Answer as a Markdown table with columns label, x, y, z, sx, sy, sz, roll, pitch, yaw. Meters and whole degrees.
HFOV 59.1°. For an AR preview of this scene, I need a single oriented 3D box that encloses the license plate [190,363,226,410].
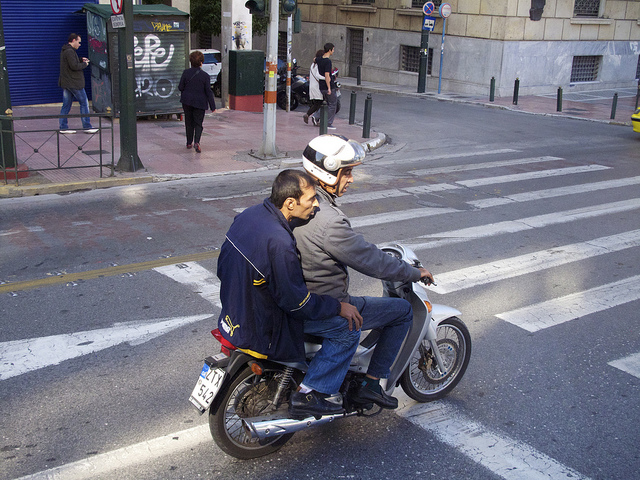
| label | x | y | z | sx | sy | sz | roll | pitch | yaw |
| --- | --- | --- | --- | --- | --- | --- | --- | --- | --- |
| license plate | -0.752 | 0.987 | 3.828 | 0.183 | 0.230 | 0.189 | 16 | 22 | 42 |

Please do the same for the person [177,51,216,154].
| label | x | y | z | sx | sy | sz | roll | pitch | yaw |
| --- | --- | --- | --- | --- | --- | --- | --- | --- | --- |
| person | -2.897 | -3.253 | 13.238 | 0.689 | 2.294 | 1.054 | -6 | 17 | -25 |

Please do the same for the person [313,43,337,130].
| label | x | y | z | sx | sy | sz | roll | pitch | yaw |
| --- | --- | --- | --- | --- | --- | --- | --- | --- | --- |
| person | 0.186 | -4.561 | 16.701 | 0.666 | 2.414 | 0.893 | 1 | 15 | -1 |
